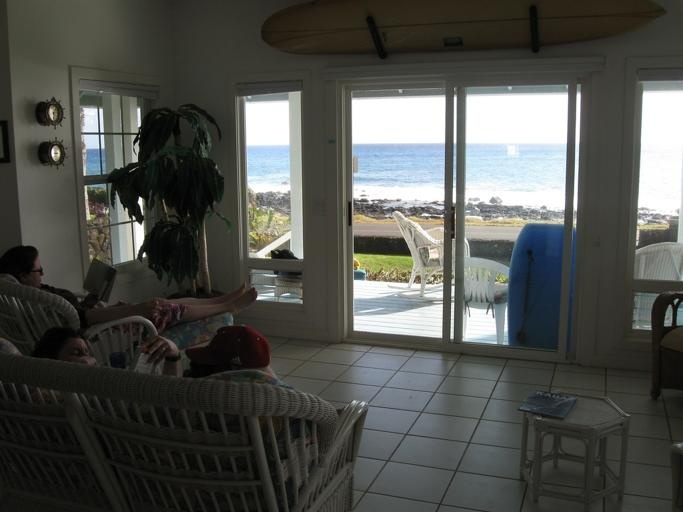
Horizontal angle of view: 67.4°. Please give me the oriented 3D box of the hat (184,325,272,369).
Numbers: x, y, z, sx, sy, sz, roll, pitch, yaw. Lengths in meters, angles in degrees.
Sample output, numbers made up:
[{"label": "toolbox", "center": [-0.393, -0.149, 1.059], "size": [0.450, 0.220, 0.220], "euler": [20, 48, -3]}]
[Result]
[{"label": "hat", "center": [-0.538, 0.454, 2.460], "size": [0.335, 0.178, 0.210], "euler": [10, -7, 2]}]

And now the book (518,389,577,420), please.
[{"label": "book", "center": [1.082, 0.765, 2.650], "size": [0.227, 0.035, 0.324], "euler": [6, 13, 35]}]

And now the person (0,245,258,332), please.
[{"label": "person", "center": [-1.363, 0.278, 3.389], "size": [1.666, 0.651, 0.693], "euler": [0, 4, -17]}]

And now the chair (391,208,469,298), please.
[{"label": "chair", "center": [1.178, -0.097, 7.643], "size": [0.658, 1.224, 1.869], "euler": [0, 11, 9]}]
